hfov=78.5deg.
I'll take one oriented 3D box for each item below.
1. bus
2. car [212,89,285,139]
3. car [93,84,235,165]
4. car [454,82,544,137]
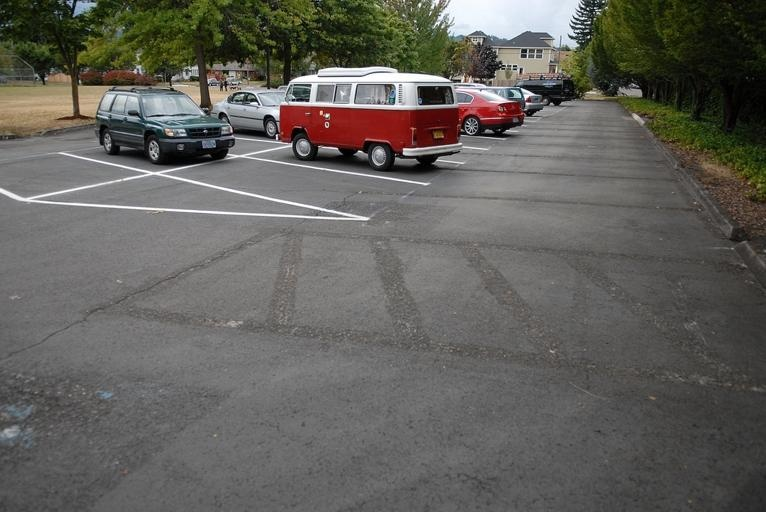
[{"bbox_3d":[-0.433,-4.773,15.556,5.766,2.759,3.153,15,24,34],"label":"bus"},{"bbox_3d":[-6.201,-6.722,22.482,3.862,1.525,2.301,9,17,27],"label":"car"},{"bbox_3d":[-7.638,-4.571,16.227,4.850,2.023,2.514,17,24,33],"label":"car"},{"bbox_3d":[5.023,-7.302,24.629,2.590,1.969,5.597,-16,27,-36],"label":"car"}]
